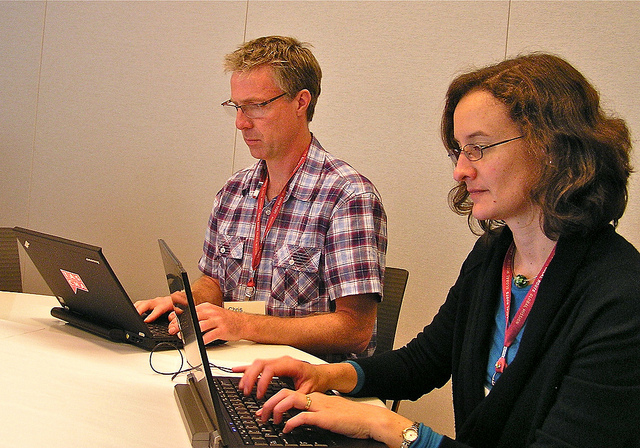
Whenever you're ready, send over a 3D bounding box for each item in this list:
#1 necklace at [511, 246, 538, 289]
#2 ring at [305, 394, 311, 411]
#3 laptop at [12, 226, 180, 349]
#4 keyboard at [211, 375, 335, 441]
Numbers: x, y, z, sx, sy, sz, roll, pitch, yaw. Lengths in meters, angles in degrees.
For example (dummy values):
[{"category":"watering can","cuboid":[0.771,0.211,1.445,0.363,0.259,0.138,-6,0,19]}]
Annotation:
[{"category":"necklace","cuboid":[0.637,0.139,1.576,0.096,0.123,0.033,12,11,18]},{"category":"ring","cuboid":[-0.033,0.504,1.427,0.008,0.023,0.024,12,-9,-9]},{"category":"laptop","cuboid":[-0.806,0.223,1.884,0.643,0.407,0.342,5,9,32]},{"category":"keyboard","cuboid":[-0.161,0.534,1.446,0.214,0.022,0.314,9,8,-27]}]
